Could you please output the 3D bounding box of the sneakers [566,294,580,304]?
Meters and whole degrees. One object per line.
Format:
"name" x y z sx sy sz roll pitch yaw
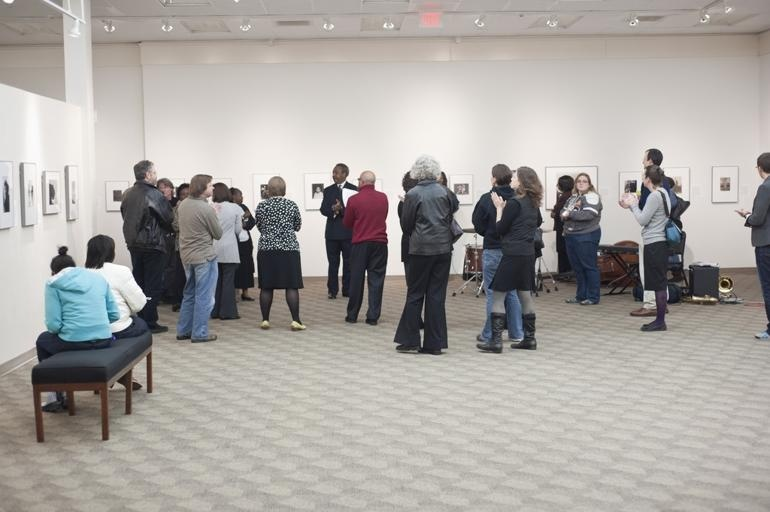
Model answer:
"sneakers" 3.473 0.822 10.635 0.270 0.098 0.106 0 0 -6

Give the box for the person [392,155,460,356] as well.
"person" 0.556 -0.048 7.583 0.870 2.462 0.721 2 7 3

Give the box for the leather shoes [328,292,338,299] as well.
"leather shoes" -1.008 0.777 11.323 0.083 0.101 0.154 0 -4 -26

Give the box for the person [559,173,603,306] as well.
"person" 3.581 -0.147 10.453 0.663 2.007 0.457 3 10 24

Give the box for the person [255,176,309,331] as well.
"person" -1.559 0.127 8.681 0.672 2.029 0.485 -2 9 -8

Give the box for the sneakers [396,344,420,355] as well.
"sneakers" 0.324 1.223 7.625 0.324 0.129 0.118 5 2 11

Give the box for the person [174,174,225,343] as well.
"person" -2.614 0.041 8.114 0.693 2.346 0.384 -2 9 -7

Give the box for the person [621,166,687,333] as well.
"person" 3.971 -0.115 8.516 0.707 2.435 0.642 4 10 27

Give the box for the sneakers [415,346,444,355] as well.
"sneakers" 0.610 1.238 7.592 0.341 0.137 0.127 6 7 37

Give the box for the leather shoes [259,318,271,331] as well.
"leather shoes" -1.844 1.075 8.969 0.172 0.145 0.358 0 -3 -5

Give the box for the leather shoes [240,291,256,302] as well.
"leather shoes" -2.612 0.776 11.276 0.157 0.172 0.404 2 7 11

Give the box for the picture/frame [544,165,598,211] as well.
"picture/frame" 3.884 -1.425 12.142 1.427 0.988 0.027 -1 2 1

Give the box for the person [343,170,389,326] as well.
"person" -0.273 -0.109 8.995 0.683 2.387 0.410 0 9 7

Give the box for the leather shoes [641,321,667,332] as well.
"leather shoes" 3.993 1.050 8.581 0.412 0.152 0.146 1 0 2

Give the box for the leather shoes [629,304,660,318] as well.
"leather shoes" 4.244 0.890 9.378 0.418 0.177 0.168 0 1 28

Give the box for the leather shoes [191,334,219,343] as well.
"leather shoes" -2.530 1.178 8.243 0.334 0.122 0.117 -3 5 -19

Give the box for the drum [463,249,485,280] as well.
"drum" 1.836 0.126 11.953 0.596 0.595 0.525 1 -1 7

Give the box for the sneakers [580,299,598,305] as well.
"sneakers" 3.736 0.836 10.424 0.318 0.109 0.108 3 -2 -3
